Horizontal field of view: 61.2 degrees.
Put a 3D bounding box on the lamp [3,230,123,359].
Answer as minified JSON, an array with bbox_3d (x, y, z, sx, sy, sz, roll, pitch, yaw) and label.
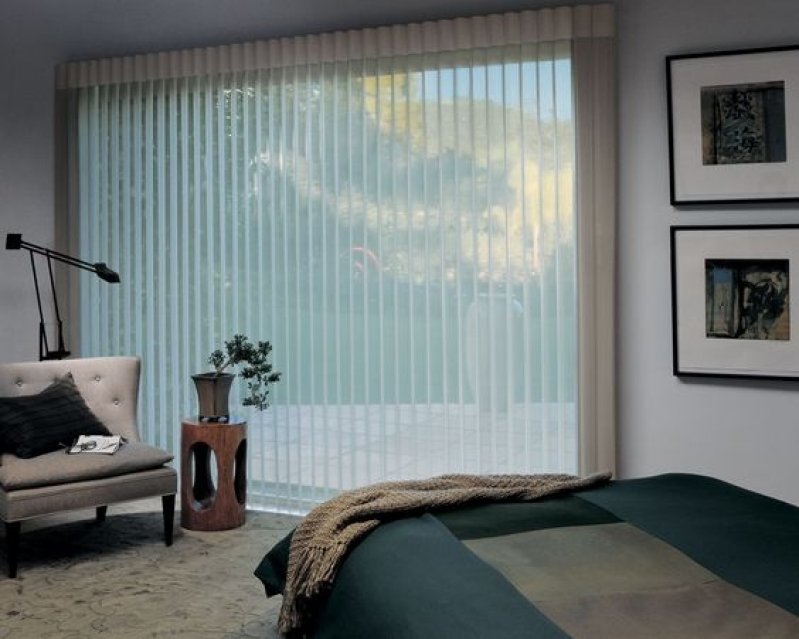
[{"bbox_3d":[-2.227,-0.167,4.505,0.574,0.860,0.995,-10,11,-30],"label":"lamp"}]

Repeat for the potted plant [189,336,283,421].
[{"bbox_3d":[-0.957,0.319,4.132,0.494,0.562,0.487,-2,1,9],"label":"potted plant"}]
